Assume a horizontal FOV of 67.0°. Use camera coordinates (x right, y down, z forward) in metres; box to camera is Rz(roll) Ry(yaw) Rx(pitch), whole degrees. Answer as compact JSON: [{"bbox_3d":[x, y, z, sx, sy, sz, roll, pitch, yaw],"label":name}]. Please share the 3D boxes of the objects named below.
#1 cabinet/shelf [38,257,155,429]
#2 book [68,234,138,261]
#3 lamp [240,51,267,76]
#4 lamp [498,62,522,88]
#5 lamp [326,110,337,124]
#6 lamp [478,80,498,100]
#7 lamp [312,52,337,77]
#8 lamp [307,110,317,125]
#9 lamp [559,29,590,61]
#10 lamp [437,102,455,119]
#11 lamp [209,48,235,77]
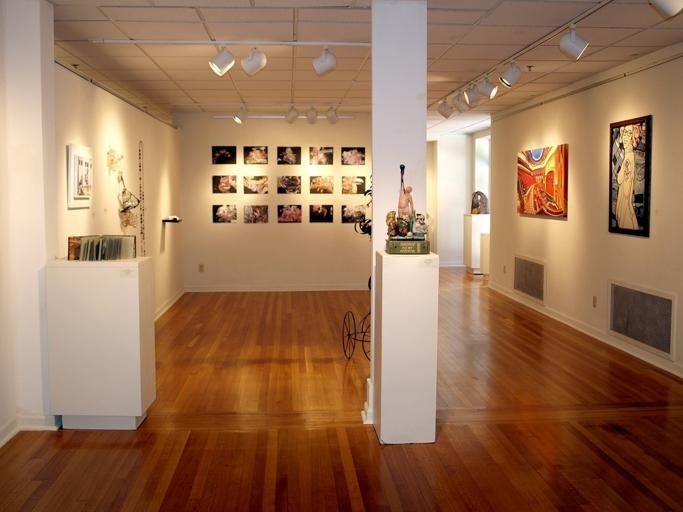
[{"bbox_3d":[-2.189,0.787,4.609,0.881,1.504,0.327,0,7,-2],"label":"cabinet/shelf"},{"bbox_3d":[-2.150,-0.071,4.650,0.379,0.157,0.319,0,0,10],"label":"book"},{"bbox_3d":[-0.913,-2.052,5.421,0.225,0.235,0.250,0,8,1],"label":"lamp"},{"bbox_3d":[1.893,-2.041,5.748,0.196,0.245,0.200,5,9,34],"label":"lamp"},{"bbox_3d":[-0.165,-2.373,8.767,0.189,0.263,0.186,5,15,19],"label":"lamp"},{"bbox_3d":[1.786,-2.045,6.289,0.248,0.189,0.254,-1,8,-4],"label":"lamp"},{"bbox_3d":[-0.166,-1.987,5.255,0.240,0.247,0.254,2,8,18],"label":"lamp"},{"bbox_3d":[-0.489,-2.313,8.542,0.183,0.249,0.204,-1,10,5],"label":"lamp"},{"bbox_3d":[2.192,-2.016,4.876,0.219,0.284,0.146,1,7,9],"label":"lamp"},{"bbox_3d":[1.560,-2.166,7.633,0.140,0.270,0.421,15,13,-14],"label":"lamp"},{"bbox_3d":[-1.230,-2.052,5.380,0.230,0.289,0.328,-1,8,-2],"label":"lamp"}]
